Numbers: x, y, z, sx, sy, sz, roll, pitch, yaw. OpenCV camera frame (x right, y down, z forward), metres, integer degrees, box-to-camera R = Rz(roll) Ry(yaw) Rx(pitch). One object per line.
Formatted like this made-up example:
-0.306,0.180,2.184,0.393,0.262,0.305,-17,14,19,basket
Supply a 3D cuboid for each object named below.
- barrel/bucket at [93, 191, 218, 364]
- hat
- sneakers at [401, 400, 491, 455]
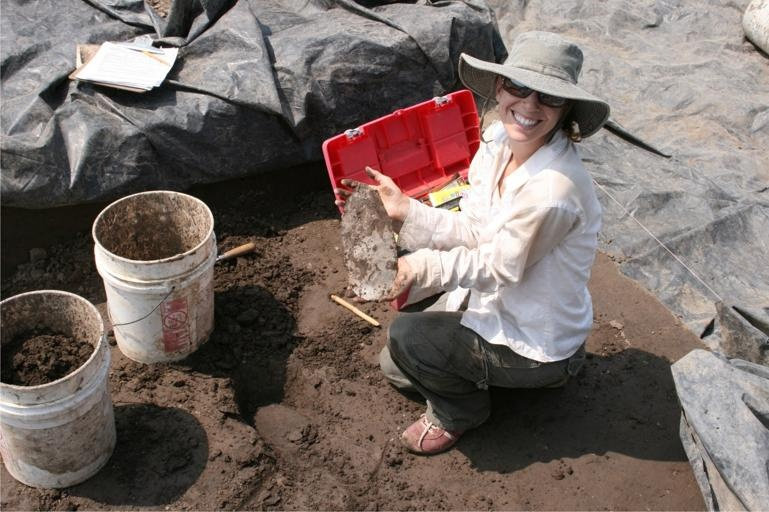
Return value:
-1.511,0.162,4.782,0.673,0.733,0.692,4,44,-4,barrel/bucket
0.924,-1.009,4.322,0.760,0.781,0.420,26,79,7,hat
0.430,1.151,4.771,0.662,0.289,0.255,-22,85,5,sneakers
